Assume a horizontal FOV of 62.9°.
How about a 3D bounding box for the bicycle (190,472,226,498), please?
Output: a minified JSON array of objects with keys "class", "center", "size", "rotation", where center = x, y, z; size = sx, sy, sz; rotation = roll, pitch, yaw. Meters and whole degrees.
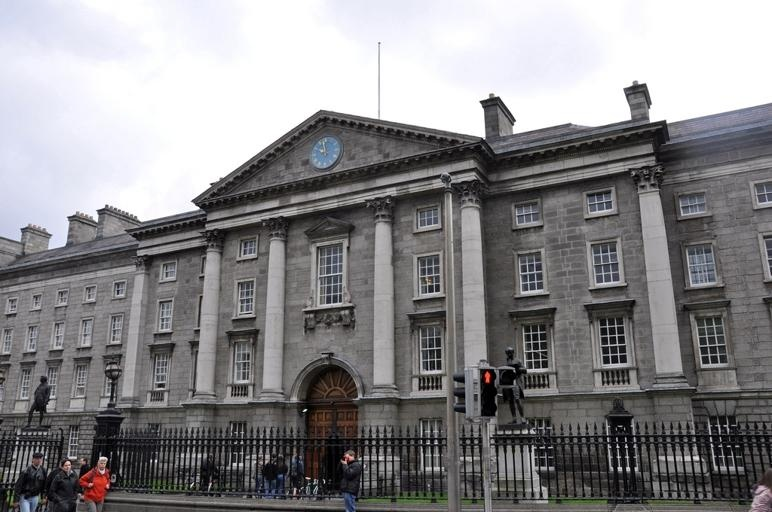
[{"class":"bicycle","center":[-7.735,10.120,27.614],"size":[1.345,0.951,2.834],"rotation":[6,-21,-17]}]
